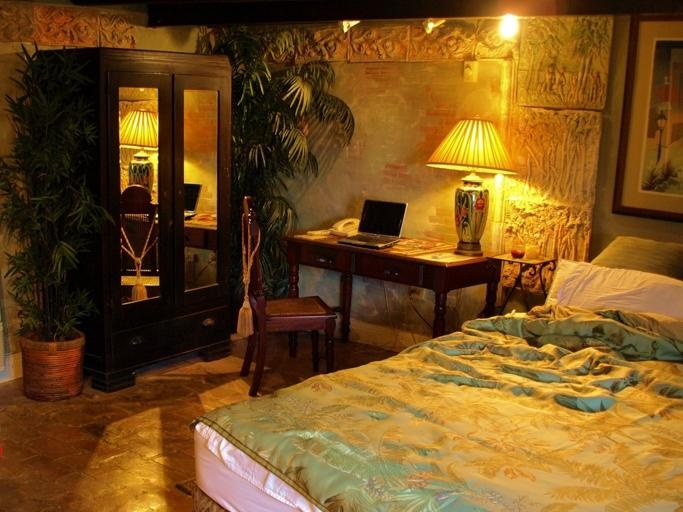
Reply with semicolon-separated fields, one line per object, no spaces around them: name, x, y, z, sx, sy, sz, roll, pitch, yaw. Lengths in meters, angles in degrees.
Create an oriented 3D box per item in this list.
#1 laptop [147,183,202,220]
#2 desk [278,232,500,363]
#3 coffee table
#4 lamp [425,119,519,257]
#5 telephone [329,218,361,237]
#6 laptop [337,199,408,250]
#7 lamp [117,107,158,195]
laptop;-1.283;-0.436;4.111;0.335;0.311;0.267;8;4;32
desk;0.498;0.179;4.290;1.703;1.074;0.882;9;11;43
coffee table;1.348;0.162;4.001;0.430;0.464;0.434;8;14;34
lamp;0.980;-0.542;4.034;0.641;1.010;0.401;5;15;16
telephone;0.038;-0.254;4.559;0.141;0.077;0.239;7;18;40
laptop;0.273;-0.266;4.320;0.455;0.281;0.478;12;17;37
lamp;-1.419;-0.751;3.724;0.077;0.594;0.311;10;17;30
